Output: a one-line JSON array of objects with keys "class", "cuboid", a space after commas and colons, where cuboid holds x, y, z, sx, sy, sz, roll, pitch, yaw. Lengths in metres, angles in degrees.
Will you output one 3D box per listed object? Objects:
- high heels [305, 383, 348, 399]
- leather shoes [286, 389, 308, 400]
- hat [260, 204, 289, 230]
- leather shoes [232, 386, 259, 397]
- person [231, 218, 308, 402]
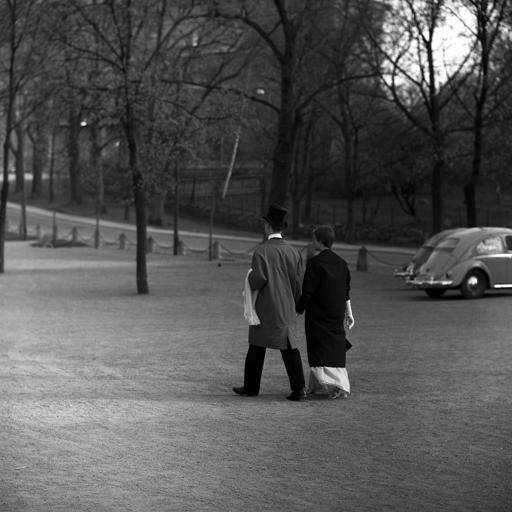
[{"class": "high heels", "cuboid": [0.685, 1.269, 8.721, 0.415, 0.182, 0.145, -7, 3, 28]}, {"class": "leather shoes", "cuboid": [0.358, 1.243, 8.488, 0.201, 0.106, 0.177, 1, 2, 16]}, {"class": "hat", "cuboid": [0.188, -0.344, 8.562, 0.183, 0.142, 0.249, 24, 8, -16]}, {"class": "leather shoes", "cuboid": [-0.096, 1.227, 8.621, 0.234, 0.110, 0.090, 11, 8, 20]}, {"class": "person", "cuboid": [0.127, 0.415, 8.575, 0.651, 1.752, 0.428, 0, 2, -1]}]
